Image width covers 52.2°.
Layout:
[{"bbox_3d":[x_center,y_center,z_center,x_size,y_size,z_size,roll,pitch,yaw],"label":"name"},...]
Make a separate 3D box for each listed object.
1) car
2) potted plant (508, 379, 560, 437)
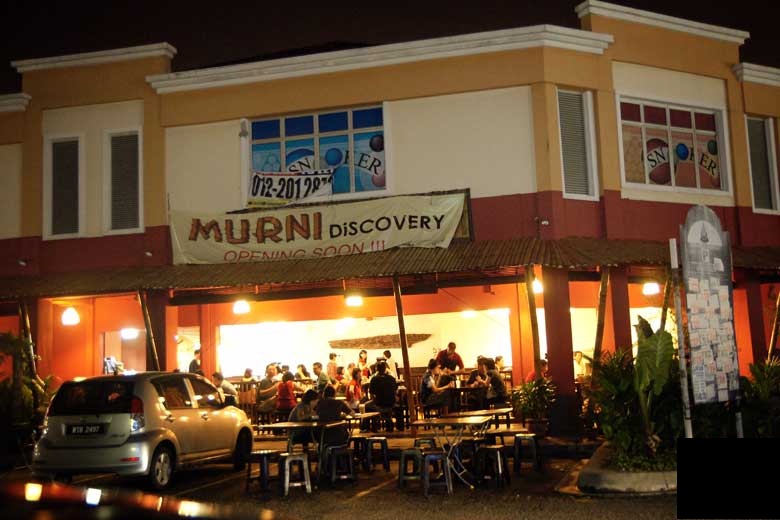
[{"bbox_3d":[-5.413,3.599,18.318,2.827,1.891,4.476,-4,-5,25],"label":"car"},{"bbox_3d":[4.036,4.060,21.990,1.386,1.489,1.440,-2,-5,5],"label":"potted plant"}]
